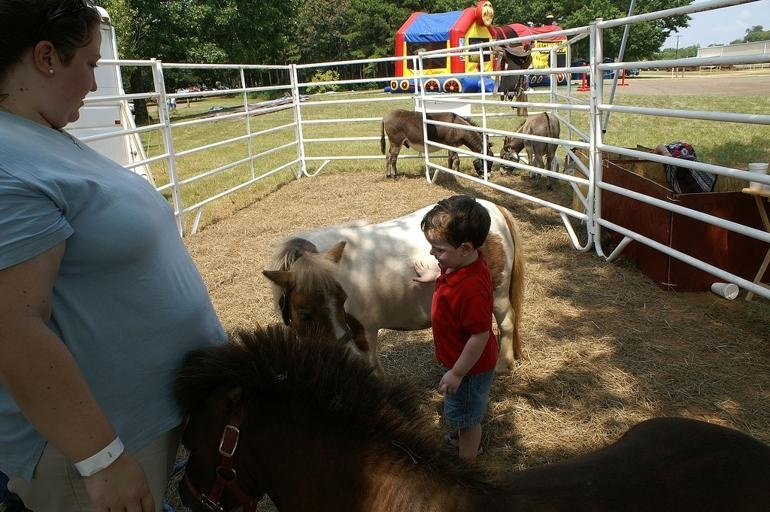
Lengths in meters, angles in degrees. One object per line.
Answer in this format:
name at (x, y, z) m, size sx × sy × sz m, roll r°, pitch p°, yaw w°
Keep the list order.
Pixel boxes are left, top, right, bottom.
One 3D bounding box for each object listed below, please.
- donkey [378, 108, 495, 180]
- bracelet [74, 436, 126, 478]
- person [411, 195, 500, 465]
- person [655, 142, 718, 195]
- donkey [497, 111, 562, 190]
donkey at (1.485, -2.156, 10.811) m, size 1.631 × 1.715 × 3.473 m, roll 1°, pitch 23°, yaw -1°
bracelet at (-0.880, 0.628, 1.583) m, size 0.117 × 0.050 × 0.123 m, roll -23°, pitch 11°, yaw 26°
person at (0.389, 0.417, 2.792) m, size 0.463 × 1.444 × 0.362 m, roll 2°, pitch 6°, yaw 22°
person at (3.136, -0.876, 5.375) m, size 0.545 × 0.374 × 1.103 m, roll 9°, pitch 24°, yaw 22°
donkey at (2.640, -1.976, 9.305) m, size 0.751 × 1.279 × 1.908 m, roll 0°, pitch 22°, yaw 0°
